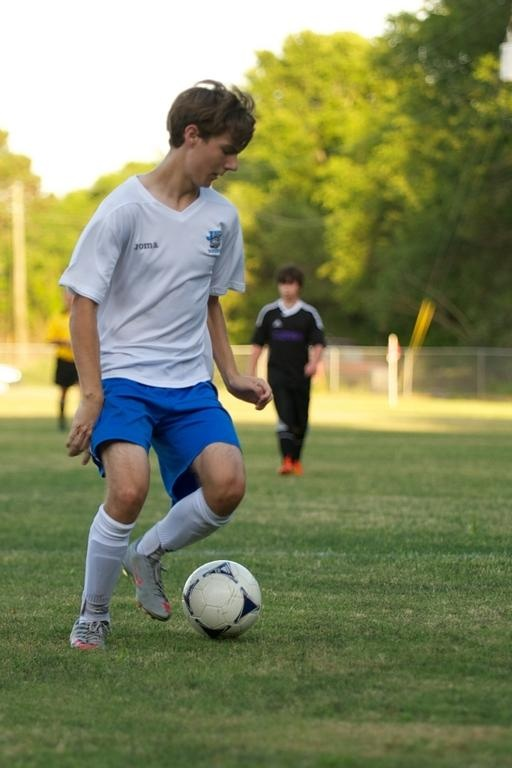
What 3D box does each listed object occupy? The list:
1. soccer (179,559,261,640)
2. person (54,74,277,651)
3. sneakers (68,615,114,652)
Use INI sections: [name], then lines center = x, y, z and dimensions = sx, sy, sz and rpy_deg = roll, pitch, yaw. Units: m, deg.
[soccer]
center = -0.086, 0.645, 3.213
dimensions = 0.251, 0.219, 0.223
rpy_deg = 0, 15, 2
[person]
center = -0.286, -0.073, 3.021
dimensions = 0.523, 1.553, 0.457
rpy_deg = 2, 7, -9
[sneakers]
center = -0.458, 0.679, 2.963
dimensions = 0.108, 0.078, 0.197
rpy_deg = 1, 6, -7
